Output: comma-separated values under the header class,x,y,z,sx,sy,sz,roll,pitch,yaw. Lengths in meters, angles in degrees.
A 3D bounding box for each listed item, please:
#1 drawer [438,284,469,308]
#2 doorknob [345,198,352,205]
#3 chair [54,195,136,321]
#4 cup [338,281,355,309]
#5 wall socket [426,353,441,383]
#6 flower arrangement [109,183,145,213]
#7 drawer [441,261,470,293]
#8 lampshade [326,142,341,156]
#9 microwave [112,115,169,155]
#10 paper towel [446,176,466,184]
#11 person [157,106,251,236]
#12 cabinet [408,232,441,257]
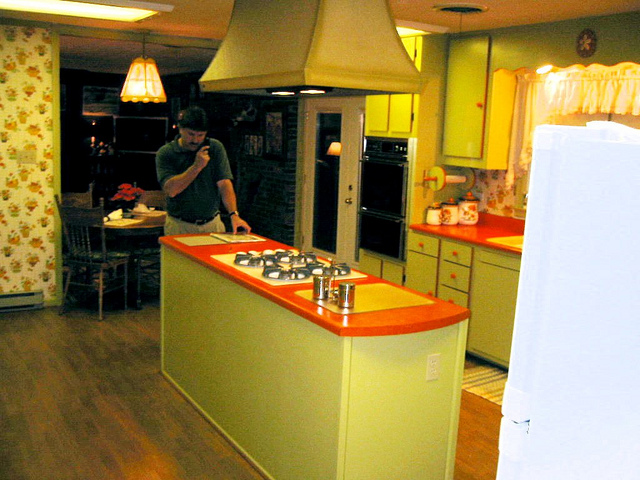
class,x,y,z,sx,sy,sz,roll,pitch,yaw
drawer,1.159,0.477,4.519,0.180,0.090,0.242,3,6,-35
doorknob,0.356,-0.470,6.322,0.076,0.054,0.073,13,19,16
chair,-2.355,0.117,5.417,0.761,1.160,1.167,-2,15,-19
cup,0.127,0.263,2.508,0.082,0.116,0.087,3,14,-1
wall socket,0.551,0.619,2.517,0.084,0.143,0.015,-5,18,-27
flower arrangement,-2.102,-0.482,5.841,0.389,0.242,0.339,-2,5,2
drawer,1.172,0.316,4.491,0.258,0.210,0.344,1,5,-21
lampshade,0.184,-1.138,6.488,0.051,0.165,0.265,-7,16,-33
microwave,-2.207,-1.181,5.842,0.387,0.405,0.655,8,12,25
paper towel,1.288,-0.574,4.917,0.260,0.057,0.071,2,0,-37
person,-0.921,-0.526,4.174,0.575,1.039,0.749,-10,19,-41
cabinet,0.954,0.038,4.766,0.239,0.130,0.313,0,5,-26
